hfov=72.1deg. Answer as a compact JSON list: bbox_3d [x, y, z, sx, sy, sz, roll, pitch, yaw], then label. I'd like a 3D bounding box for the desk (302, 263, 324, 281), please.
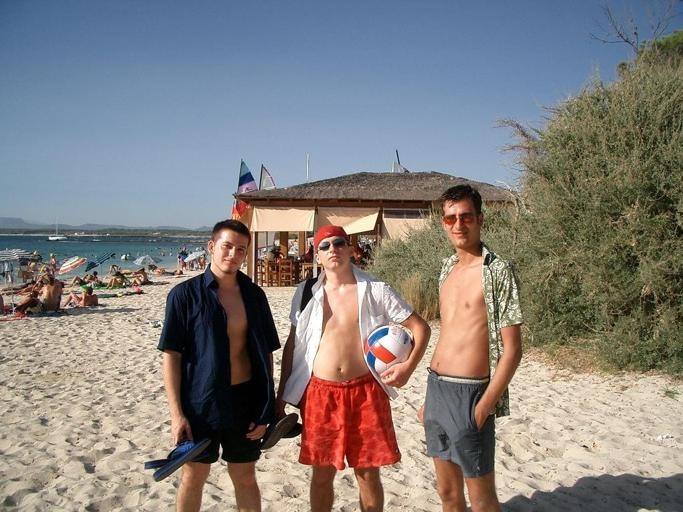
[{"bbox_3d":[-1.098,0.529,17.053,0.921,0.971,0.723,-1,-4,-1],"label":"desk"}]

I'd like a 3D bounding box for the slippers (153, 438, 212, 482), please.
[{"bbox_3d":[-1.162,1.467,3.333,0.438,0.306,0.267,-1,1,-14],"label":"slippers"}]
